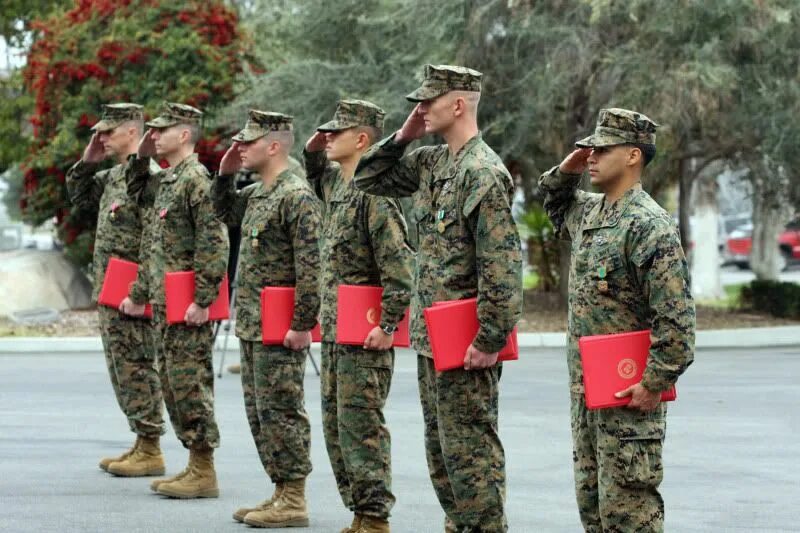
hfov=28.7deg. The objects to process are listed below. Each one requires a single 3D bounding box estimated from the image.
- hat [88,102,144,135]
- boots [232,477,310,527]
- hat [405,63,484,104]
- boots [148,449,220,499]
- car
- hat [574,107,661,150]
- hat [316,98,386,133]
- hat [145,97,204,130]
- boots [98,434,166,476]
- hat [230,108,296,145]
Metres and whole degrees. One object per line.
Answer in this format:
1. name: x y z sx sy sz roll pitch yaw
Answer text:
1. hat: -3.825 -2.042 21.330 0.595 0.259 0.392 -20 12 -33
2. boots: -1.625 3.024 19.899 1.061 0.776 0.451 2 -8 -1
3. hat: 0.572 -2.201 18.691 0.700 0.318 0.472 -9 9 -9
4. boots: -2.672 2.724 20.196 1.016 0.811 0.441 1 -5 -5
5. car: 11.093 -0.543 47.210 2.093 1.157 2.705 -3 1 4
6. hat: 2.596 -1.599 18.385 0.695 0.301 0.522 -2 -1 -7
7. hat: -0.552 -1.879 19.521 0.662 0.307 0.415 -2 4 -6
8. hat: -2.927 -2.020 20.719 0.616 0.272 0.403 -2 3 -12
9. boots: -3.448 2.534 20.742 0.926 0.712 0.418 3 -7 -5
10. hat: -1.719 -1.778 19.874 0.618 0.282 0.420 -12 8 -22
